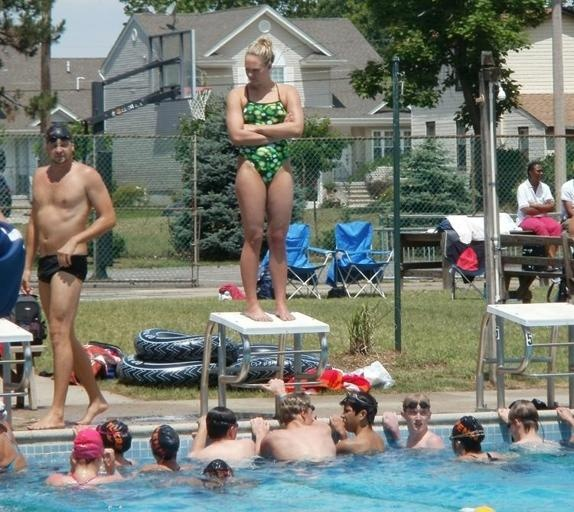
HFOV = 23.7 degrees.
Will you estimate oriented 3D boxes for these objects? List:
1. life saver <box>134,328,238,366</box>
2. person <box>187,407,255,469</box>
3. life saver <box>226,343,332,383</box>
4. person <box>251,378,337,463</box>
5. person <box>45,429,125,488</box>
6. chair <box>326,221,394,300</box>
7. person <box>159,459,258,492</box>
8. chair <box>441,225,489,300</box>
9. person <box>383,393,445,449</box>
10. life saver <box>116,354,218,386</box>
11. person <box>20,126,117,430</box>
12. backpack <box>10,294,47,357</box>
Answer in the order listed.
[{"bbox_3d":[-1.228,1.059,16.051,1.052,0.375,0.848,-1,1,-24],"label":"life saver"},{"bbox_3d":[-0.631,1.856,13.831,0.649,0.572,0.841,0,1,29],"label":"person"},{"bbox_3d":[-0.150,1.256,16.004,0.849,0.261,0.552,2,-1,-15],"label":"life saver"},{"bbox_3d":[0.102,1.647,13.803,0.759,0.790,0.434,-1,1,2],"label":"person"},{"bbox_3d":[-1.906,1.969,13.139,0.683,0.570,0.788,-2,1,-22],"label":"person"},{"bbox_3d":[1.229,0.046,23.179,0.871,1.410,0.951,-4,5,-29],"label":"chair"},{"bbox_3d":[-0.735,2.115,13.253,0.873,0.278,0.214,-1,1,-6],"label":"person"},{"bbox_3d":[2.874,0.067,22.069,0.611,1.236,0.692,-4,4,-19],"label":"chair"},{"bbox_3d":[1.287,1.735,14.115,0.794,0.780,0.498,-1,-5,-1],"label":"person"},{"bbox_3d":[-1.505,1.346,16.016,0.988,0.343,0.279,-1,1,0],"label":"life saver"},{"bbox_3d":[-2.240,0.181,14.076,0.941,3.111,0.716,-1,1,-11],"label":"person"},{"bbox_3d":[-2.963,0.786,15.774,0.425,0.676,0.476,8,1,37],"label":"backpack"}]
